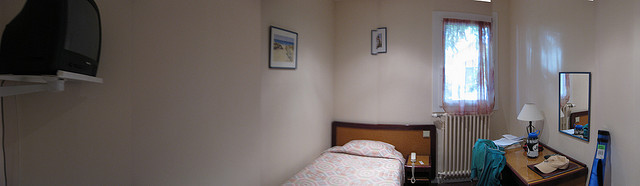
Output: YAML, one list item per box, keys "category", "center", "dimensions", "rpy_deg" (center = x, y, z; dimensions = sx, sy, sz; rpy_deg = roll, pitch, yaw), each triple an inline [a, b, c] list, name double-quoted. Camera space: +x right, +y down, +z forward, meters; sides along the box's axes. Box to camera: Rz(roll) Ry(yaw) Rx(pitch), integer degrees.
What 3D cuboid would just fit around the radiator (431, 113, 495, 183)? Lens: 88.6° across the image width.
- category: "radiator"
  center: [4.112, 1.594, 9.550]
  dimensions: [1.542, 2.030, 0.262]
  rpy_deg: [-1, -3, 8]
